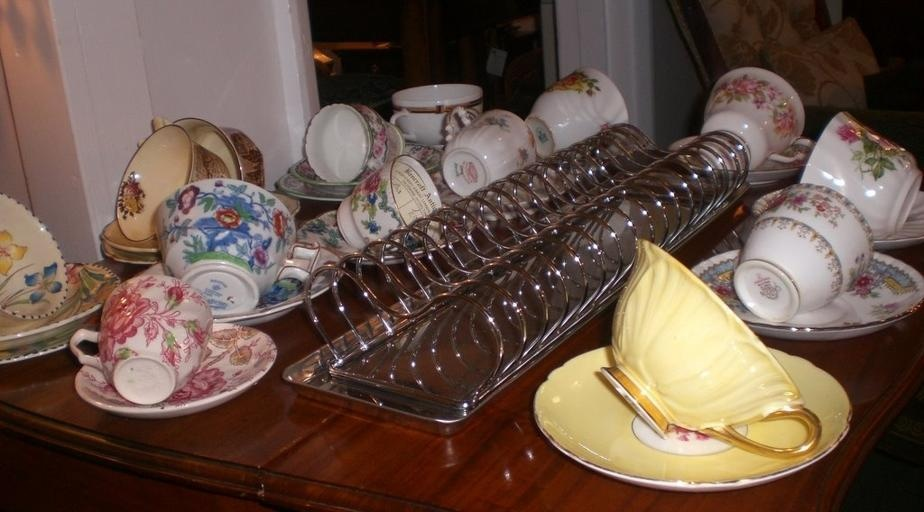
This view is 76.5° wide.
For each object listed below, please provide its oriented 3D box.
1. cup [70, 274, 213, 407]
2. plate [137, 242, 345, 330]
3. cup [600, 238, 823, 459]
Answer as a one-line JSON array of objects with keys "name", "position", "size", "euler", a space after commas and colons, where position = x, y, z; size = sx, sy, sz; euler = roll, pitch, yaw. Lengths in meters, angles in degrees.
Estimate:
[{"name": "cup", "position": [-0.397, 0.109, 0.792], "size": [0.181, 0.137, 0.132], "euler": [5, 16, -15]}, {"name": "plate", "position": [-0.257, 0.042, 0.871], "size": [0.180, 0.181, 0.041], "euler": [-18, 71, 11]}, {"name": "cup", "position": [0.252, 0.106, 0.679], "size": [0.103, 0.200, 0.243], "euler": [-41, 66, -8]}]
